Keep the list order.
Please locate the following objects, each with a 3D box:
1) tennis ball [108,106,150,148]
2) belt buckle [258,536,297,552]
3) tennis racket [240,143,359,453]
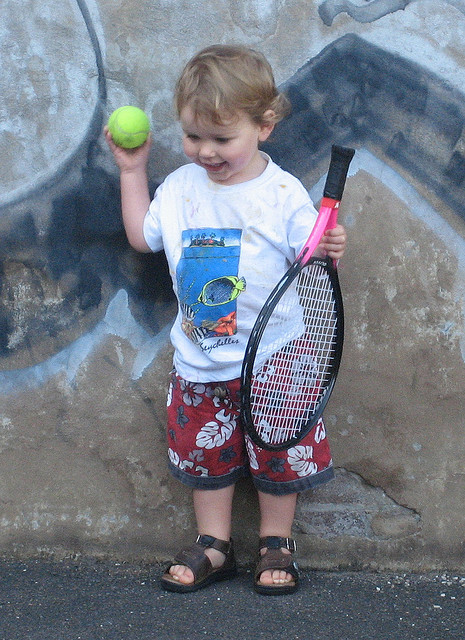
[{"bbox_3d":[-0.315,-0.577,2.486,0.119,0.109,0.102,-10,48,-16],"label":"tennis ball"},{"bbox_3d":[0.128,0.686,2.535,0.084,0.055,0.024,-1,68,6],"label":"belt buckle"},{"bbox_3d":[0.189,0.014,2.263,0.254,0.866,0.579,13,47,4],"label":"tennis racket"}]
